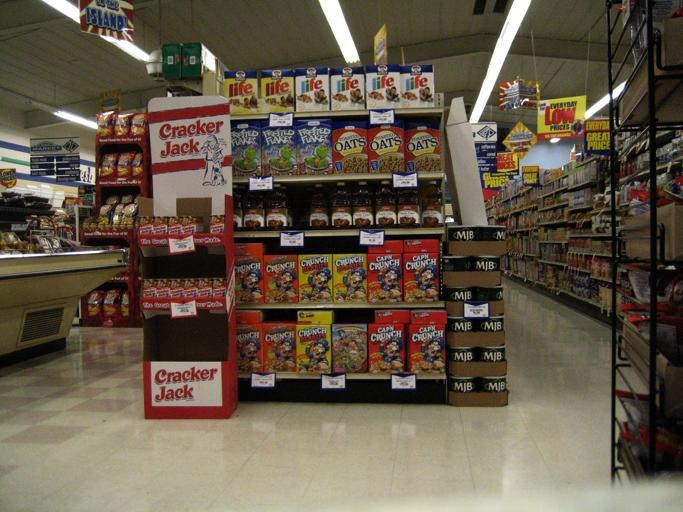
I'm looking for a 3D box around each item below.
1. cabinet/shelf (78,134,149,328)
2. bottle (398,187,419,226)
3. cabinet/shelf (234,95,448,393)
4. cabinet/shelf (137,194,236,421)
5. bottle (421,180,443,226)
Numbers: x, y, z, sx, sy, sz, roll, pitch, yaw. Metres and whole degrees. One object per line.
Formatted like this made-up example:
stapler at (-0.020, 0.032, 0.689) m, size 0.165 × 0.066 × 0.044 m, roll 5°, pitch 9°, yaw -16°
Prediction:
cabinet/shelf at (-2.995, -0.434, 7.181) m, size 0.970 × 2.588 × 0.908 m, roll 2°, pitch 13°, yaw -10°
bottle at (0.540, -0.395, 4.350) m, size 0.170 × 0.287 × 0.225 m, roll -1°, pitch 7°, yaw 7°
cabinet/shelf at (-0.026, -0.012, 4.421) m, size 1.741 × 2.302 × 0.646 m, roll -1°, pitch 7°, yaw 5°
cabinet/shelf at (-1.187, 0.408, 4.106) m, size 0.704 × 1.532 × 0.408 m, roll -1°, pitch 4°, yaw -7°
bottle at (0.735, -0.427, 4.370) m, size 0.174 × 0.376 × 0.134 m, roll 2°, pitch 13°, yaw 11°
